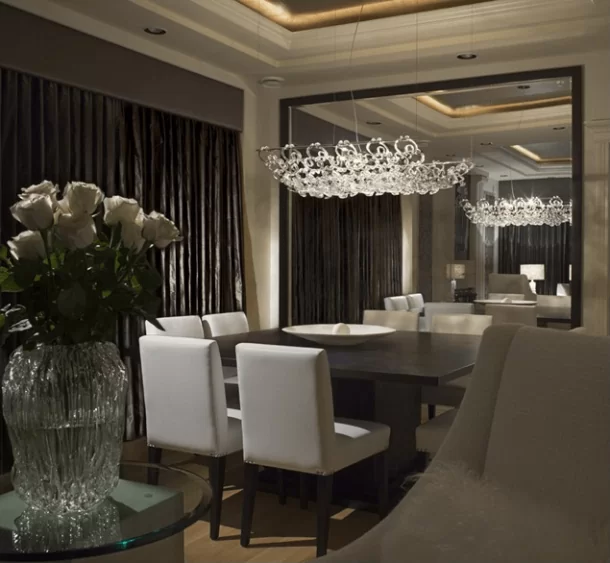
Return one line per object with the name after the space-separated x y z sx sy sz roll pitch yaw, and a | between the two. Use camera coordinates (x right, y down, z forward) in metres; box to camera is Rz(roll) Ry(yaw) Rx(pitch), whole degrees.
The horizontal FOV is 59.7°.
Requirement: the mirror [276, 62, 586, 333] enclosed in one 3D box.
1.222 -0.804 4.738 2.044 2.542 0.050 0 0 34 | mirror

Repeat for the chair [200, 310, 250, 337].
-0.623 0.294 4.071 0.197 0.312 0.204 -2 -2 39 | chair

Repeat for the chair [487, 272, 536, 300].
1.851 0.071 4.796 0.263 0.377 0.230 4 -2 -44 | chair

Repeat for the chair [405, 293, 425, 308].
1.049 0.183 5.096 0.147 0.171 0.129 -8 5 -10 | chair

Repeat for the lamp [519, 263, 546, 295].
1.984 -0.012 4.648 0.179 0.349 0.201 0 4 7 | lamp

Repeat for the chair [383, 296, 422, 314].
0.914 0.216 5.051 0.202 0.237 0.211 -1 0 44 | chair
